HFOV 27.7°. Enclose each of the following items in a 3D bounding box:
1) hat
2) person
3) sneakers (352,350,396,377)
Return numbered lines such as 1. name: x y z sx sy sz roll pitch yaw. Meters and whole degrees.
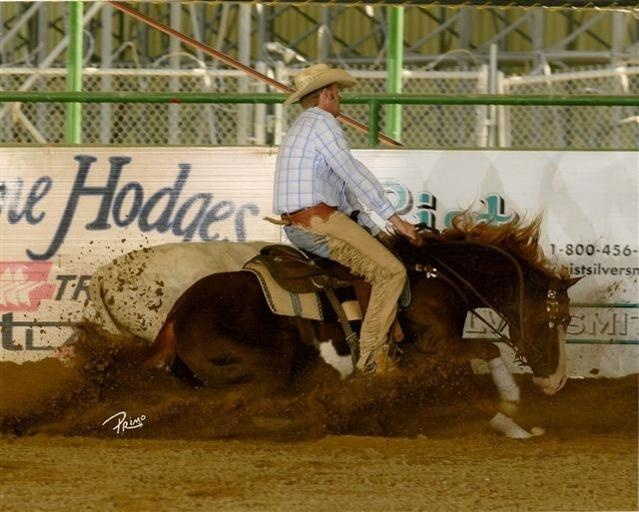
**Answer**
1. hat: 0.010 -1.558 11.548 0.714 0.228 0.577 7 1 -8
2. person: 0.199 -0.329 11.513 1.228 2.699 0.589 1 -3 -3
3. sneakers: 0.507 0.952 11.732 0.263 0.195 0.320 1 2 27
